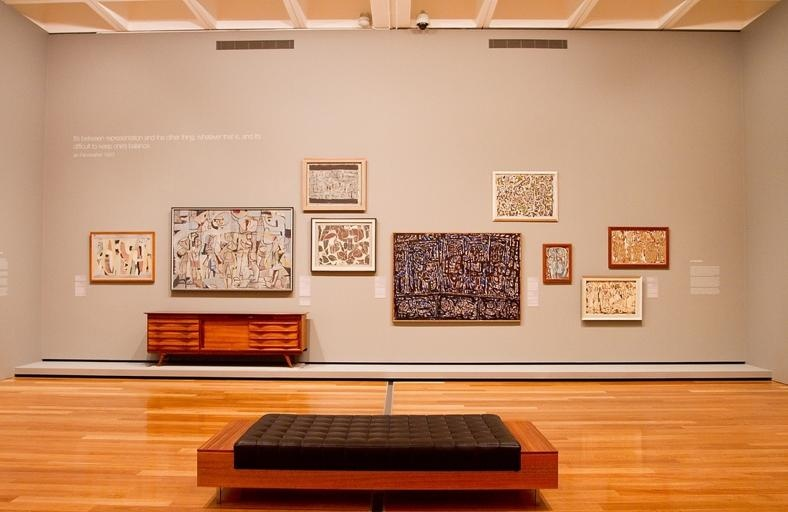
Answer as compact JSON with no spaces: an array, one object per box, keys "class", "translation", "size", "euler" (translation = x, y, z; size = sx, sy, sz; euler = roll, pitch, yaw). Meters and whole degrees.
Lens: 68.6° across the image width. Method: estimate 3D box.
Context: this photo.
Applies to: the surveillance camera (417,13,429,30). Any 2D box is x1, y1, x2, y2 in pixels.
[{"class":"surveillance camera","translation":[0.572,-4.648,11.442],"size":[0.245,0.310,0.285],"euler":[1,13,2]}]
